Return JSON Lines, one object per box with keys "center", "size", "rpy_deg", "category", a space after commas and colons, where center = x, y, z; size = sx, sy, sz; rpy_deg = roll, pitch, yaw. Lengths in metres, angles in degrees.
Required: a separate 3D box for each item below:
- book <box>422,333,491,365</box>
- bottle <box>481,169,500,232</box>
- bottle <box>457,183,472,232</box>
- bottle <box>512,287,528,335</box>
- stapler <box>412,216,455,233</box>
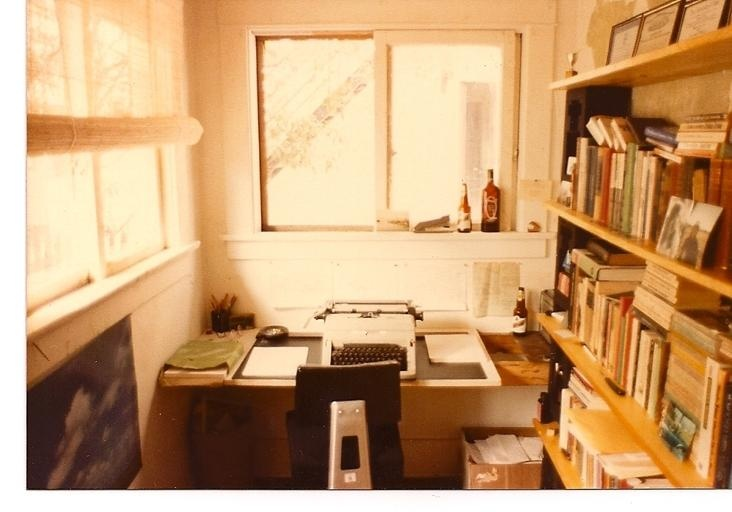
{"center": [0.434, 0.455, 2.648], "size": [0.275, 0.079, 0.229], "rpy_deg": [1, 13, 3], "category": "book"}
{"center": [0.622, -0.274, 2.677], "size": [0.094, 0.312, 0.053], "rpy_deg": [-2, 14, -9], "category": "bottle"}
{"center": [0.496, -0.241, 2.690], "size": [0.079, 0.247, 0.042], "rpy_deg": [-1, 14, -7], "category": "bottle"}
{"center": [0.789, 0.279, 2.733], "size": [0.095, 0.247, 0.039], "rpy_deg": [-3, 15, -14], "category": "bottle"}
{"center": [0.328, -0.156, 2.675], "size": [0.129, 0.090, 0.051], "rpy_deg": [-5, 19, -3], "category": "stapler"}
